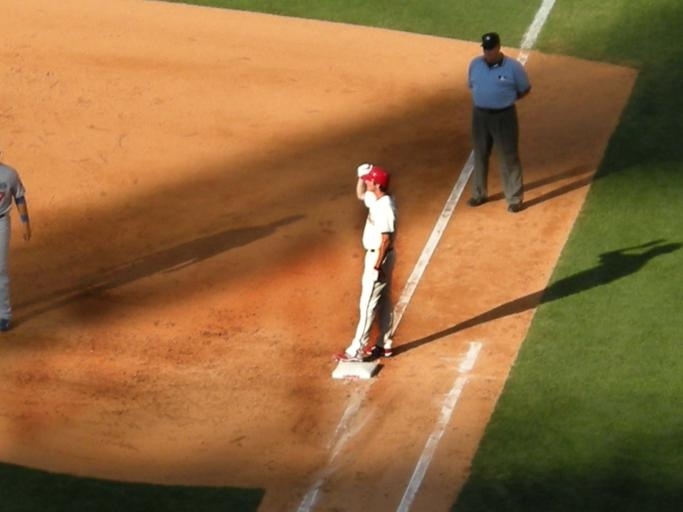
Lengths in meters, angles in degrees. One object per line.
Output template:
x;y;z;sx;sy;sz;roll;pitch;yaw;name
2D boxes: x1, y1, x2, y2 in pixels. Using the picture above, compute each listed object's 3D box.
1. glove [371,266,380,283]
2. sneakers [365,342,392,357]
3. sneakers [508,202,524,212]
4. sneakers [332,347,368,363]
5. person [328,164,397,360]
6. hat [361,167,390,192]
0.464;0.228;12.667;0.096;0.183;0.064;13;43;8;glove
0.526;1.319;13.399;0.298;0.152;0.183;5;31;6;sneakers
2.699;-0.752;14.927;0.215;0.209;0.117;-7;37;-16;sneakers
0.129;1.385;13.482;0.454;0.202;0.173;4;8;15;sneakers
0.478;0.184;13.037;0.666;2.633;1.207;4;42;-1;person
0.441;-1.025;12.588;0.344;0.185;0.244;26;38;-1;hat
